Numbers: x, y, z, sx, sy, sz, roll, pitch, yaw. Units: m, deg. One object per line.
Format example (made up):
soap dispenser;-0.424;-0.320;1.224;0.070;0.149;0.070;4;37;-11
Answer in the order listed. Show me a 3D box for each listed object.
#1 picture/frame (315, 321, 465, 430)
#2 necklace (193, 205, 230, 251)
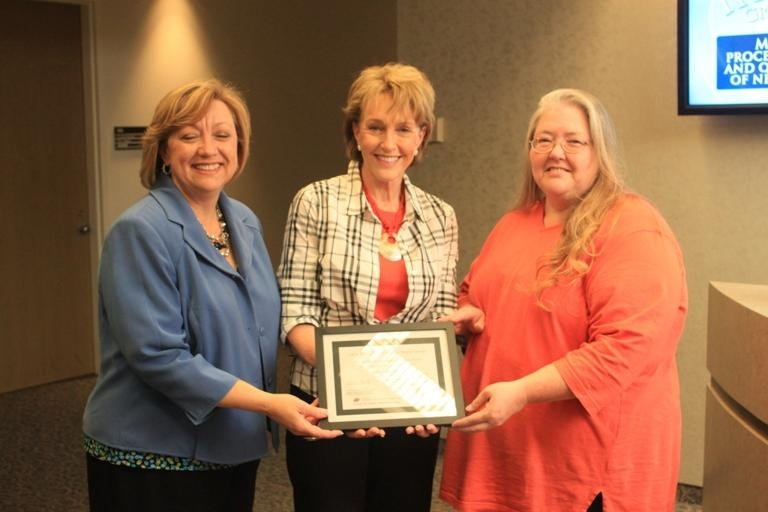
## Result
picture/frame;0.014;0.488;2.629;0.468;0.344;0.036;-1;-26;-3
necklace;-0.704;-0.092;2.743;0.096;0.146;0.030;-26;4;-43
